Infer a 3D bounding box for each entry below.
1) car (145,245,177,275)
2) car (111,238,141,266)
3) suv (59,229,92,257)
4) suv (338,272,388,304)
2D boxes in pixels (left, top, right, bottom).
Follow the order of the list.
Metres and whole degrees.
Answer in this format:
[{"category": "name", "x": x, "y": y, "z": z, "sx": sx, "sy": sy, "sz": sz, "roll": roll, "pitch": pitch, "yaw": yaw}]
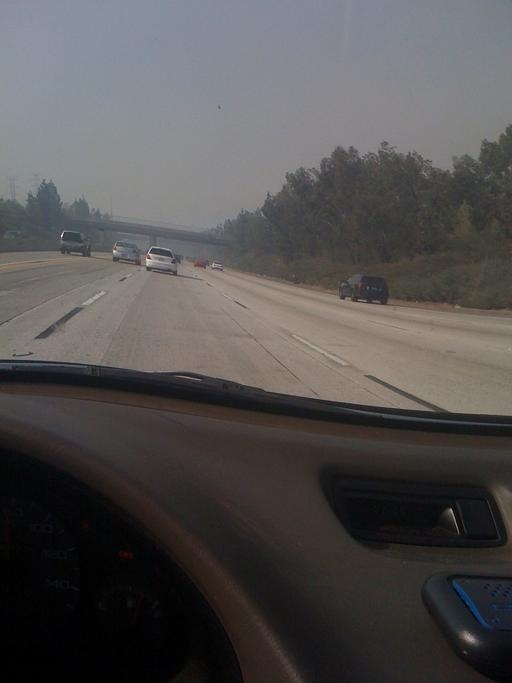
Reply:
[{"category": "car", "x": -5.977, "y": -5.096, "z": 32.738, "sx": 1.843, "sy": 1.742, "sz": 1.957, "roll": -4, "pitch": 8, "yaw": -16}, {"category": "car", "x": -10.329, "y": -7.151, "z": 41.886, "sx": 1.375, "sy": 1.560, "sz": 3.627, "roll": 5, "pitch": 18, "yaw": -10}, {"category": "suv", "x": -14.706, "y": -7.945, "z": 42.248, "sx": 2.421, "sy": 2.129, "sz": 1.953, "roll": -9, "pitch": 10, "yaw": -39}, {"category": "suv", "x": 6.266, "y": -3.084, "z": 31.097, "sx": 1.355, "sy": 1.557, "sz": 3.592, "roll": 4, "pitch": 9, "yaw": -11}]
